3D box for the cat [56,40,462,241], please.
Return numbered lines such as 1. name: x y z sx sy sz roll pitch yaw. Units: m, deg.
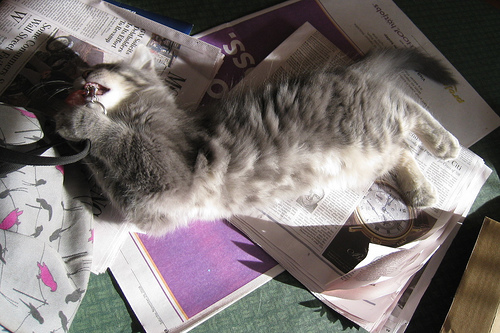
1. cat: 0.071 -0.111 1.608 0.544 1.501 0.721 153 -74 -84
